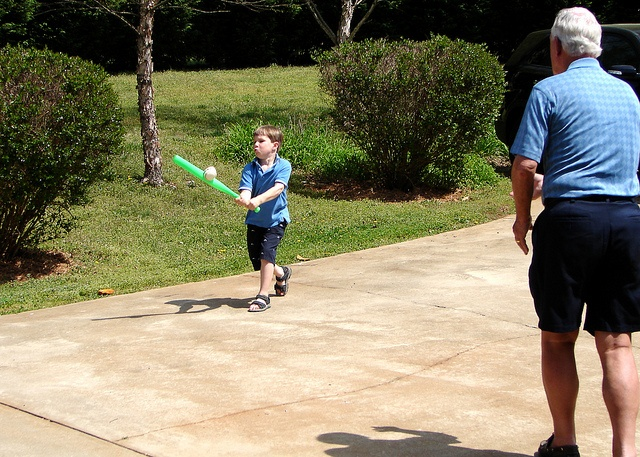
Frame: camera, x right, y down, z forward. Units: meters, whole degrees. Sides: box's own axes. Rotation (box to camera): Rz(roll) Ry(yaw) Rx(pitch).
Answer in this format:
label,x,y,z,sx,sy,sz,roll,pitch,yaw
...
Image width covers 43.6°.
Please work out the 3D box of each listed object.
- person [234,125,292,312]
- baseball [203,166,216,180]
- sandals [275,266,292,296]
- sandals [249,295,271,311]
label,x,y,z,sx,sy,sz,roll,pitch,yaw
person,-0.514,-0.122,7.601,0.493,1.667,0.871,-3,14,-1
baseball,-0.958,-0.482,6.997,0.130,0.141,0.137,1,10,-7
sandals,-0.341,0.518,7.880,0.126,0.304,0.166,14,9,37
sandals,-0.566,0.684,7.398,0.162,0.128,0.216,2,13,16
